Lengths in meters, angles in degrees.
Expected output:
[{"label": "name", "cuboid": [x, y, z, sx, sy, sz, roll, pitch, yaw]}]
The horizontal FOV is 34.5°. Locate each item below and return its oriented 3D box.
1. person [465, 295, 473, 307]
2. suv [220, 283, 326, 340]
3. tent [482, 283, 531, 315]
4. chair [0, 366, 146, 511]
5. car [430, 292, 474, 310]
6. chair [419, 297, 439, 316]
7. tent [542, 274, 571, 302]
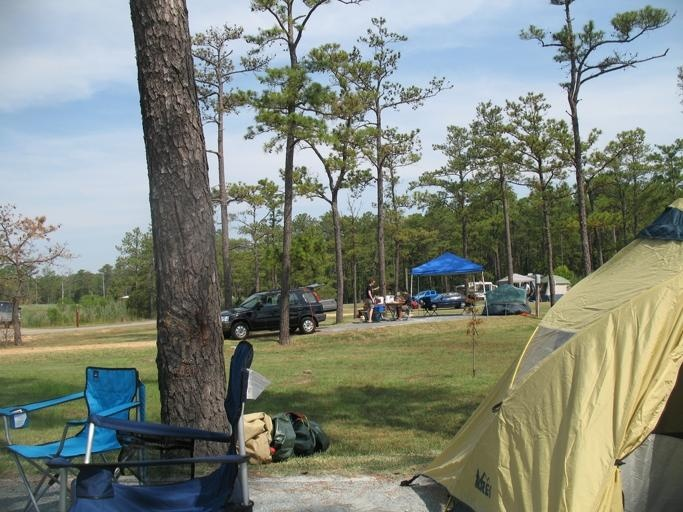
[{"label": "person", "cuboid": [4.862, 1.699, 42.146, 0.394, 0.477, 0.782, 3, 8, 7]}, {"label": "suv", "cuboid": [-2.489, 1.938, 39.269, 3.716, 1.932, 1.640, -3, 0, -15]}, {"label": "tent", "cuboid": [6.565, 1.792, 43.840, 1.198, 0.923, 1.322, -1, 0, 6]}, {"label": "chair", "cuboid": [-5.629, 3.804, 22.130, 2.644, 3.662, 2.466, -6, -7, 42]}, {"label": "car", "cuboid": [5.509, 2.295, 56.343, 1.784, 0.753, 0.911, 3, 0, -4]}, {"label": "chair", "cuboid": [4.264, 2.551, 55.300, 0.868, 1.096, 0.732, -3, 1, -8]}, {"label": "tent", "cuboid": [10.853, 1.620, 56.118, 1.282, 1.215, 1.418, -3, 1, -7]}]
